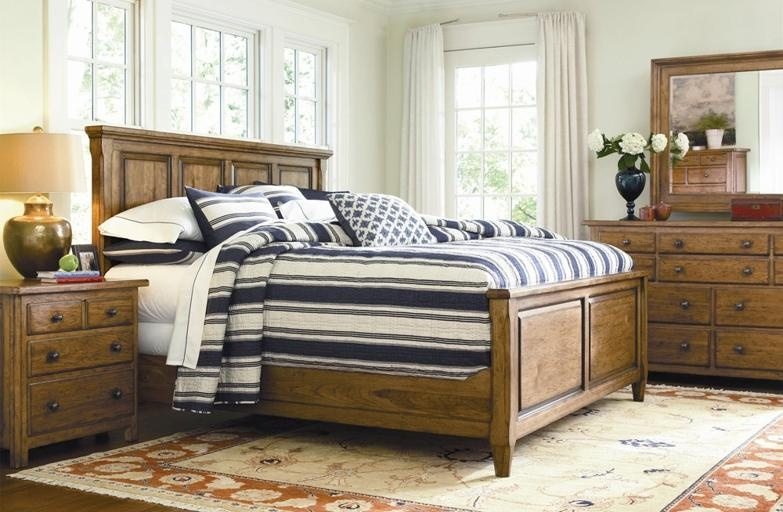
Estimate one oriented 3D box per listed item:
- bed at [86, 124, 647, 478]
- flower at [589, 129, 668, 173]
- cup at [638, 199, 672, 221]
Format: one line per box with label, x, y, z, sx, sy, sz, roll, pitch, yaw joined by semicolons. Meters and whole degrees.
bed;-0.036;0.015;4.115;3.340;1.104;2.575;10;11;0
flower;1.868;-0.867;5.177;0.529;0.184;0.297;5;5;3
cup;2.033;-0.345;4.915;0.163;0.092;0.268;-1;1;38
